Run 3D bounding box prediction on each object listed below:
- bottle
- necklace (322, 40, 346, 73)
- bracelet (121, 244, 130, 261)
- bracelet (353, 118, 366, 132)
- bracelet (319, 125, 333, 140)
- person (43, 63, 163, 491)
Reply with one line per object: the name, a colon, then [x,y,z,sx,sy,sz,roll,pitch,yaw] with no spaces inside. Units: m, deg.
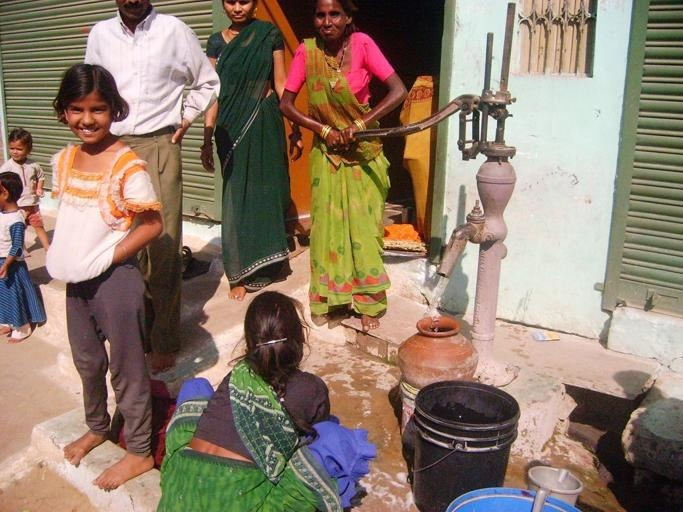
bottle: [0.583,0.551,3.323,0.391,0.453,0.446,-1,4,1]
necklace: [-0.038,-1.431,3.916,0.147,0.248,0.065,11,-15,0]
bracelet: [-1.151,-0.018,2.817,0.023,0.081,0.044,12,19,32]
bracelet: [0.137,-0.956,3.895,0.052,0.087,0.083,-18,23,5]
bracelet: [-0.114,-0.923,3.993,0.055,0.096,0.088,13,30,6]
person: [-1.310,0.121,2.945,0.676,2.249,0.567,16,22,43]
